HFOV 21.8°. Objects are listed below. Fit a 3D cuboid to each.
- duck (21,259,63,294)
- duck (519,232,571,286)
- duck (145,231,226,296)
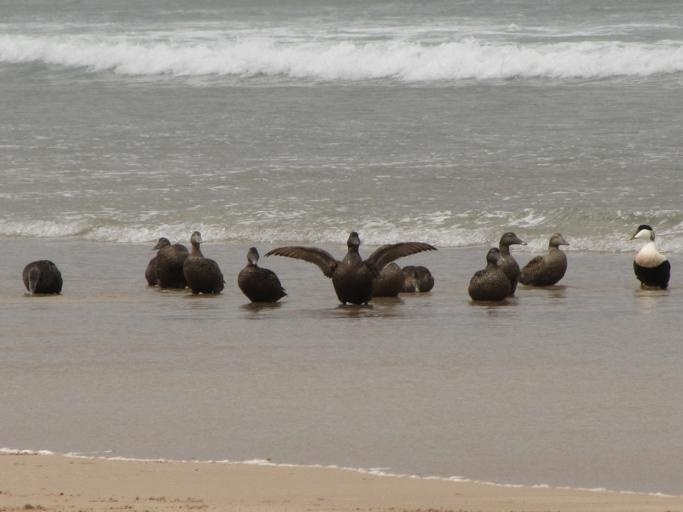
[{"bbox_3d":[-6.883,0.399,40.729,1.029,0.834,1.130,-1,-5,-16],"label":"duck"},{"bbox_3d":[4.921,-0.001,41.591,1.220,1.200,1.209,1,9,12],"label":"duck"},{"bbox_3d":[-3.564,0.319,41.036,1.440,1.632,1.639,-3,14,-11],"label":"duck"}]
